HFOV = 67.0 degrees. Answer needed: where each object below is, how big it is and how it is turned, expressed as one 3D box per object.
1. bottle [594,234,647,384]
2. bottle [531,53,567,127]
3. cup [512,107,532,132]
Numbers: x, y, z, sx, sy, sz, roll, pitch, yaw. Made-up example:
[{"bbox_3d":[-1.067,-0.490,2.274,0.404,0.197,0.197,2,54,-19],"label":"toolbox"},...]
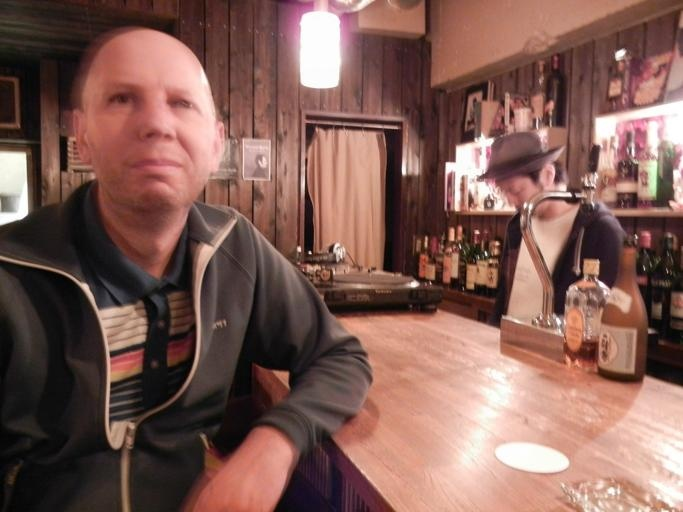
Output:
[{"bbox_3d":[0.788,0.159,1.426,0.125,0.385,0.102,-7,14,-22],"label":"bottle"},{"bbox_3d":[1.312,-1.029,3.241,0.217,0.435,0.348,5,16,28],"label":"bottle"},{"bbox_3d":[1.113,-0.827,3.165,0.099,0.132,0.099,-2,14,0],"label":"cup"}]
